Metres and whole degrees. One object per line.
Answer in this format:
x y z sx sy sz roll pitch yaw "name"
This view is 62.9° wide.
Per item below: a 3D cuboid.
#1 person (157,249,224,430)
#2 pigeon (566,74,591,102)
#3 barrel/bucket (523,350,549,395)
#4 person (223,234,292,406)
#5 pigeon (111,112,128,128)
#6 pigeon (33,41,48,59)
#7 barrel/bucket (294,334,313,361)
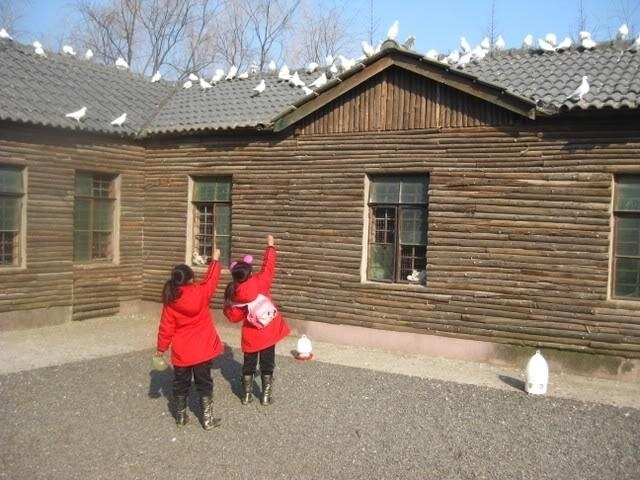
-1.881 1.464 7.716 1.027 2.504 0.759 -4 2 -18 "person"
4.766 -2.768 9.634 0.505 0.471 0.305 -9 15 -44 "pigeon"
3.678 2.246 8.817 0.382 0.692 0.330 4 11 17 "barrel/bucket"
-1.029 1.262 8.418 1.093 2.605 0.941 -3 5 -6 "person"
-4.963 -2.961 12.931 0.353 0.333 0.648 -2 12 -15 "pigeon"
-7.278 -4.947 13.645 0.309 0.304 0.463 -5 12 -28 "pigeon"
-0.330 2.112 10.362 0.409 0.484 0.432 -2 1 0 "barrel/bucket"
